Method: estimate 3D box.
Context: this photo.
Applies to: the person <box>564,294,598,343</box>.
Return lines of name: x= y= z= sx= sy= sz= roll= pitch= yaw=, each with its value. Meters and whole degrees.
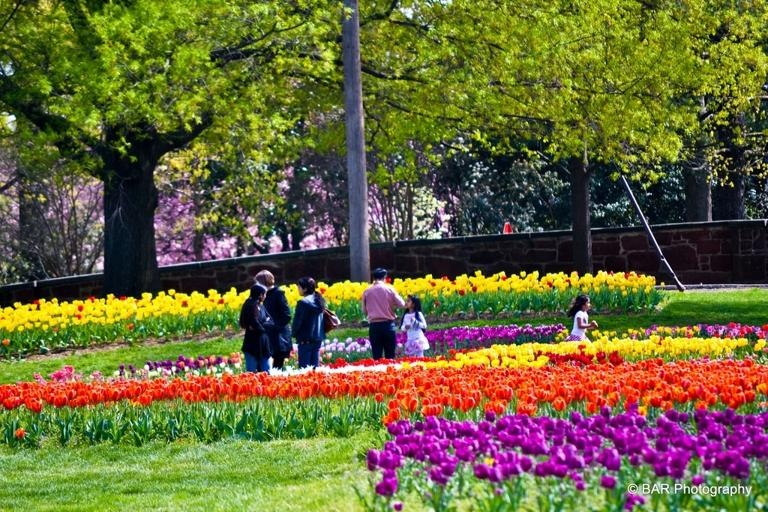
person: x=3.764 y=1.340 z=22.094 sx=0.490 sy=1.215 sz=0.497 roll=0 pitch=12 yaw=-16

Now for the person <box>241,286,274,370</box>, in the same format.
person: x=-2.317 y=1.304 z=21.309 sx=0.580 sy=1.632 sz=0.505 roll=-4 pitch=8 yaw=-6

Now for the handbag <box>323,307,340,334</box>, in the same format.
handbag: x=-1.031 y=1.262 z=22.986 sx=0.243 sy=0.570 sz=0.555 roll=-18 pitch=0 yaw=5

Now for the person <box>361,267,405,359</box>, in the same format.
person: x=0.006 y=1.125 z=22.255 sx=0.784 sy=1.747 sz=0.744 roll=-3 pitch=8 yaw=-2

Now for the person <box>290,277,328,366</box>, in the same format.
person: x=-1.392 y=1.269 z=21.890 sx=0.569 sy=1.651 sz=0.696 roll=0 pitch=8 yaw=15
